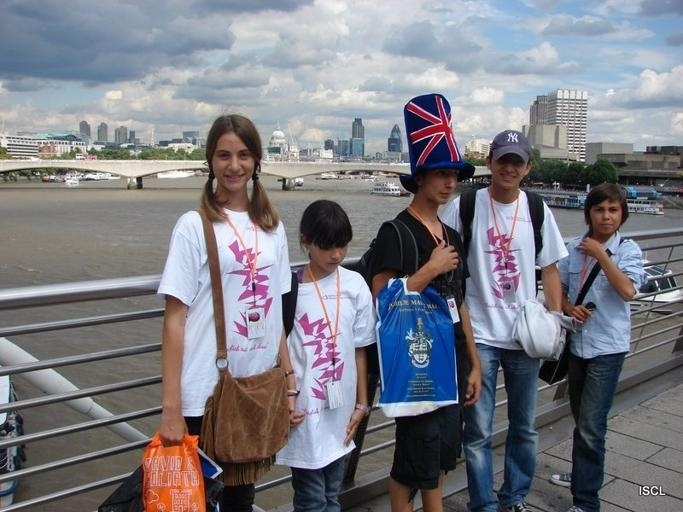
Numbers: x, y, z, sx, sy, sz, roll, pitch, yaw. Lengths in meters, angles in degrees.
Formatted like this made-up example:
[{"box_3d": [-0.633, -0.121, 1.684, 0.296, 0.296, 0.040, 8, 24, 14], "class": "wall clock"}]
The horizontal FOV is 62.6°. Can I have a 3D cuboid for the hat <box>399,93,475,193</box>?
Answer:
[{"box_3d": [0.469, -0.534, 2.721, 0.353, 0.484, 0.290, 5, 12, 9], "class": "hat"}]

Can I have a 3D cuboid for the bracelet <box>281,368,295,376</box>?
[{"box_3d": [-0.238, 0.509, 2.441, 0.059, 0.025, 0.062, -2, 4, -32], "class": "bracelet"}]

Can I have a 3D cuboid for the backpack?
[{"box_3d": [0.326, -0.032, 2.801, 0.438, 0.425, 0.325, 9, 6, 33], "class": "backpack"}]

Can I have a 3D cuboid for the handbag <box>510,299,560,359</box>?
[{"box_3d": [1.022, 0.400, 2.987, 0.233, 0.302, 0.168, -13, -11, -8], "class": "handbag"}]

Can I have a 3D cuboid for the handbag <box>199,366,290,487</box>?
[{"box_3d": [-0.379, 0.626, 2.236, 0.359, 0.341, 0.169, -2, 12, -20], "class": "handbag"}]

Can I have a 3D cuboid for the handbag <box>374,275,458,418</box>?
[{"box_3d": [0.347, 0.408, 2.576, 0.362, 0.595, 0.211, -1, 12, -16], "class": "handbag"}]
